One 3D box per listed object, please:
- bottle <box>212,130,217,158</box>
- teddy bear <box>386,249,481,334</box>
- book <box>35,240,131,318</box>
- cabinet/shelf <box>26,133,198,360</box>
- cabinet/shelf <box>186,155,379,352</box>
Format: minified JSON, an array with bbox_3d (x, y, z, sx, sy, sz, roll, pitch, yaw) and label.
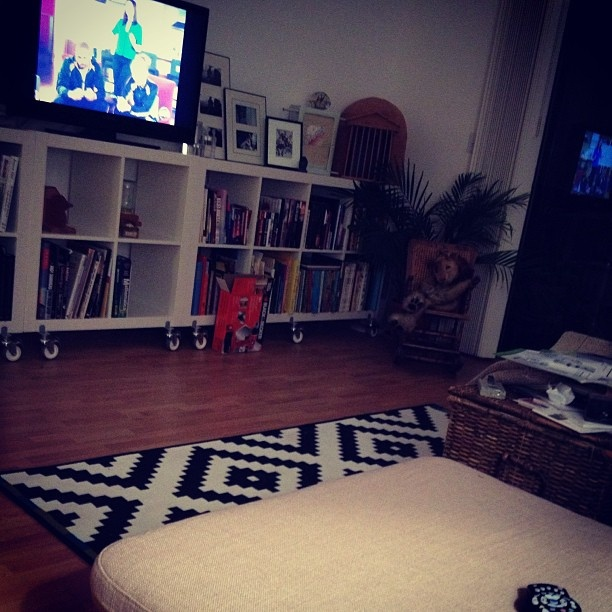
[{"bbox_3d":[-0.578,-1.026,3.052,0.049,0.170,0.023,1,7,-35],"label":"bottle"},{"bbox_3d":[0.842,-0.101,3.246,0.587,0.582,0.222,4,6,-19],"label":"teddy bear"},{"bbox_3d":[-1.166,-0.102,2.560,0.338,0.510,0.481,4,6,-31],"label":"book"},{"bbox_3d":[-1.072,-0.332,2.660,1.157,1.332,0.409,-1,5,-40],"label":"cabinet/shelf"},{"bbox_3d":[-0.184,-0.390,3.246,1.256,1.271,0.440,-1,4,-41],"label":"cabinet/shelf"}]
